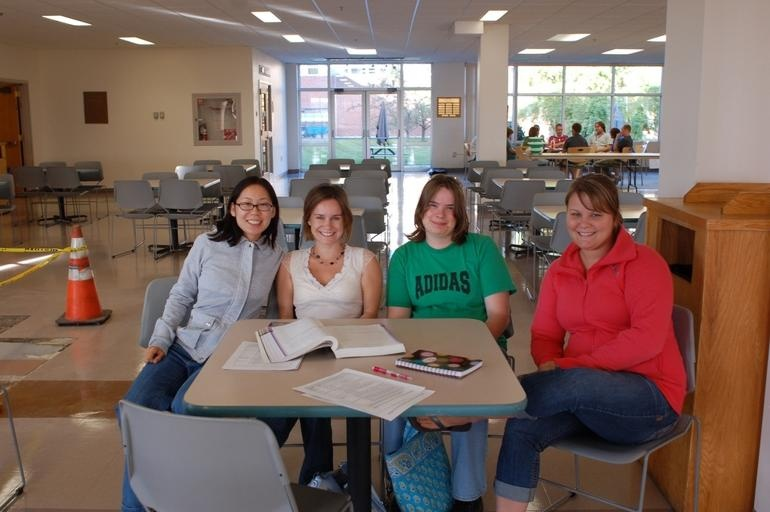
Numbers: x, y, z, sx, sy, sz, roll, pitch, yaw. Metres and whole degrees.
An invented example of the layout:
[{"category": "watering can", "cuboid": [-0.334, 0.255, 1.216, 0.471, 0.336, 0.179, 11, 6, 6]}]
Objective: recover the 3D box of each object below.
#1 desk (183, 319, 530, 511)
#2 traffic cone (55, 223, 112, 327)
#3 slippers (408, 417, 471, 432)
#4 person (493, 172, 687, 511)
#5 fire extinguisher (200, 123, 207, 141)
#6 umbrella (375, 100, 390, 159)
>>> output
[{"category": "desk", "cuboid": [-0.090, 0.324, 2.337, 1.103, 0.796, 0.859, -1, 14, 0]}, {"category": "traffic cone", "cuboid": [-2.967, 0.160, 5.251, 0.466, 0.890, 0.642, -9, 14, -28]}, {"category": "slippers", "cuboid": [0.236, 0.729, 2.417, 0.279, 0.101, 0.071, 2, -14, 4]}, {"category": "person", "cuboid": [1.009, 0.350, 2.555, 0.729, 1.382, 1.012, 4, 14, 29]}, {"category": "fire extinguisher", "cuboid": [-4.553, -3.103, 13.617, 0.207, 0.404, 0.069, -2, 12, 4]}, {"category": "umbrella", "cuboid": [-0.158, -4.223, 17.964, 0.414, 1.662, 0.195, -3, 12, -1]}]
